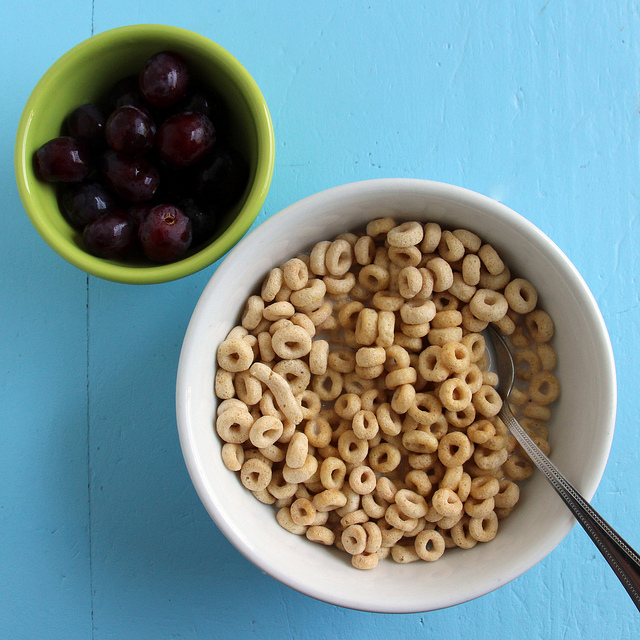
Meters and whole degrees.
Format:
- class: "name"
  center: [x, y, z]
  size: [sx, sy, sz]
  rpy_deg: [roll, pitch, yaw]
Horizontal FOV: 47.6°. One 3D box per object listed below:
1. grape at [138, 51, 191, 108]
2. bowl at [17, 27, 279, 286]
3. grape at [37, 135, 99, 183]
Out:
- class: "grape"
  center: [-0.232, -0.355, 1.080]
  size: [0.087, 0.051, 0.059]
  rpy_deg: [-26, 43, -34]
- class: "bowl"
  center: [-0.257, -0.231, 1.169]
  size: [0.374, 0.277, 0.386]
  rpy_deg: [-1, 80, 4]
- class: "grape"
  center: [-0.382, -0.240, 1.084]
  size: [0.069, 0.060, 0.075]
  rpy_deg: [19, 82, 7]
